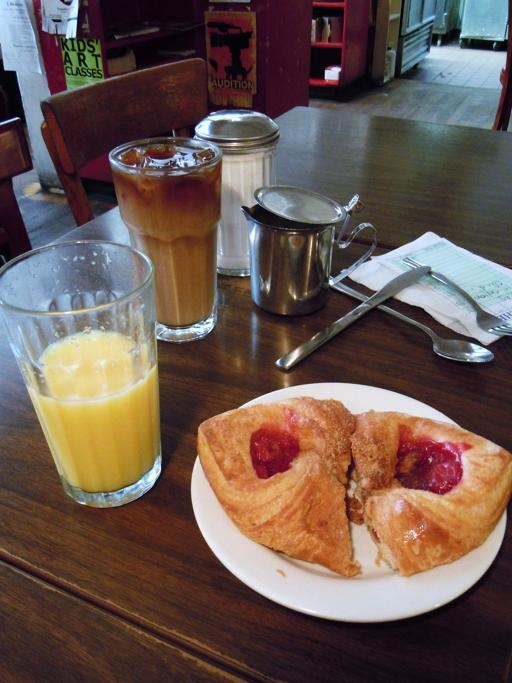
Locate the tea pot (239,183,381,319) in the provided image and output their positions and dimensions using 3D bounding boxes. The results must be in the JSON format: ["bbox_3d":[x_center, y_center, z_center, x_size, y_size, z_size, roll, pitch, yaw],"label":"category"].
[{"bbox_3d":[0.035,-0.117,0.665,0.181,0.150,0.114,-4,37,-7],"label":"tea pot"}]

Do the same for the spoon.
[{"bbox_3d":[0.134,-0.036,0.660,0.050,0.032,0.293,-31,39,-33],"label":"spoon"}]

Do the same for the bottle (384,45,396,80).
[{"bbox_3d":[1.161,-2.457,4.797,0.134,0.239,0.130,-2,37,2],"label":"bottle"}]
